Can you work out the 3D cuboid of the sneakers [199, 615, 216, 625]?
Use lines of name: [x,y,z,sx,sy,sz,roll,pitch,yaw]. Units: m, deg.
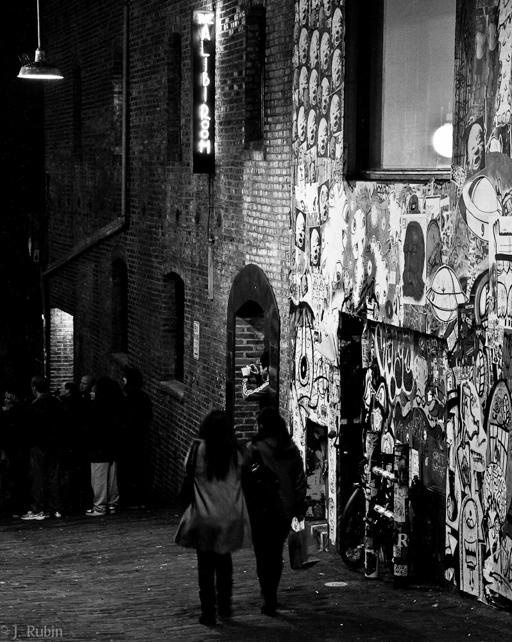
sneakers: [-0.321,1.974,6.724,0.111,0.065,0.130,0,2,-3]
